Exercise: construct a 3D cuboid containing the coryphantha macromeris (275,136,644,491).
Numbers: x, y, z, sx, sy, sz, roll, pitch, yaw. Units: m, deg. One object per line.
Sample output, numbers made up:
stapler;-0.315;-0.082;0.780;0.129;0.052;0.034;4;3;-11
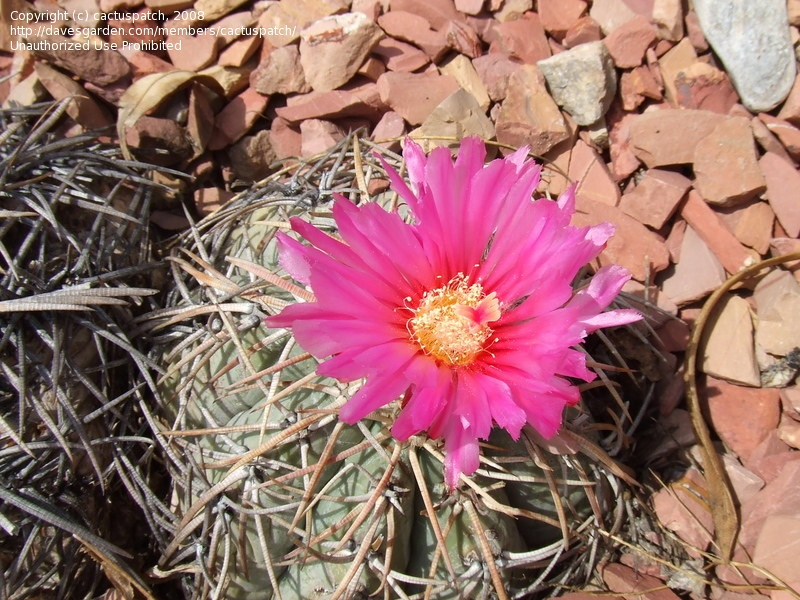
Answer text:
coryphantha macromeris;0.131;0.011;1.517;0.681;0.263;0.679;-35;85;-2
